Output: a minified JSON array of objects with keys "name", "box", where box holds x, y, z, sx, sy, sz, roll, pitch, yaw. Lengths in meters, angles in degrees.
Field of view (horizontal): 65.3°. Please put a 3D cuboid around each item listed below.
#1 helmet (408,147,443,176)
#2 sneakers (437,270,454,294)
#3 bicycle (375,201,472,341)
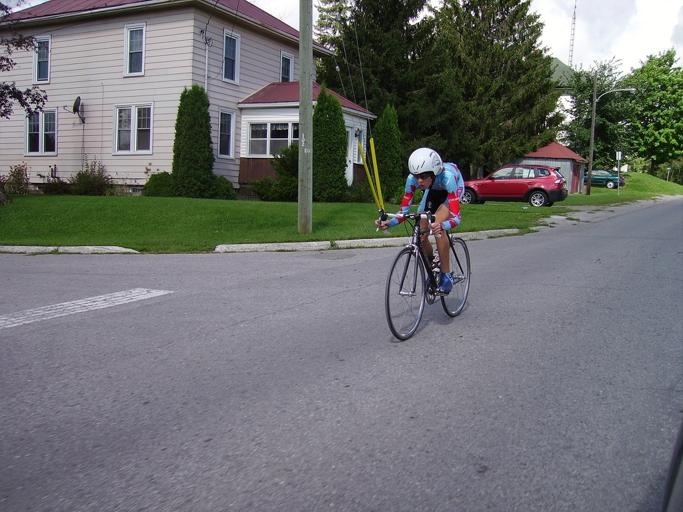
[{"name":"helmet","box":[1.004,-1.118,6.355,0.253,0.351,0.405,-1,10,26]},{"name":"sneakers","box":[1.318,0.334,6.843,0.173,0.328,0.626,-1,-5,14]},{"name":"bicycle","box":[1.393,0.281,6.656,0.672,1.713,2.248,2,6,32]}]
